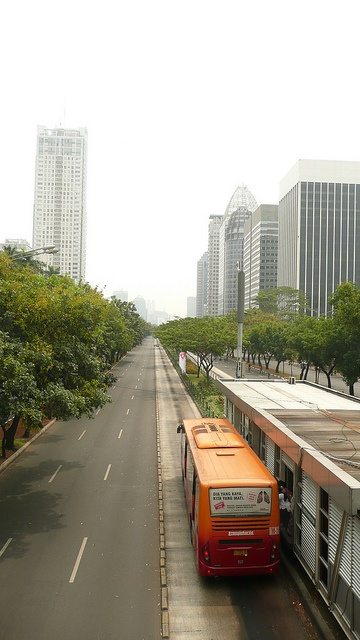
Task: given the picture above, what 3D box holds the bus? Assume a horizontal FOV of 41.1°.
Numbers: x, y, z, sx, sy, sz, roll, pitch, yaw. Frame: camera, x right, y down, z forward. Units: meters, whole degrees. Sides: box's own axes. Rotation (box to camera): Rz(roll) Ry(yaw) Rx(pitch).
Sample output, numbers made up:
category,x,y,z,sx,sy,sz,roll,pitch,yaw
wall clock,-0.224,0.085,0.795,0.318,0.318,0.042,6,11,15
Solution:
category,x,y,z,sx,sy,sz,roll,pitch,yaw
bus,1.118,4.047,12.190,1.079,1.540,4.009,0,7,-4
